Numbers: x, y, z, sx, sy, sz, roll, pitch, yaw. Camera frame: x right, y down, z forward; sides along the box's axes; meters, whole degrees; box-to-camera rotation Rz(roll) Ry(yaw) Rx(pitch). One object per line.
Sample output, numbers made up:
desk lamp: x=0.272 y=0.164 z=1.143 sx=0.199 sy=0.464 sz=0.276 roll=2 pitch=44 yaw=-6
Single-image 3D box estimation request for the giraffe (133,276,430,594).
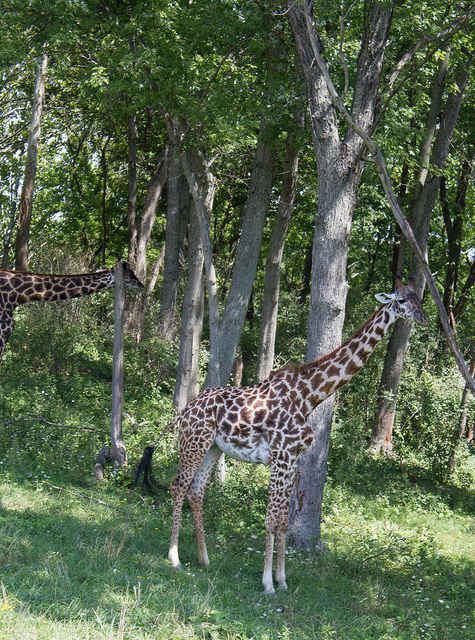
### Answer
giraffe: x=0.471 y=1.147 z=12.041 sx=2.426 sy=3.787 sz=1.237 roll=9 pitch=7 yaw=-4
